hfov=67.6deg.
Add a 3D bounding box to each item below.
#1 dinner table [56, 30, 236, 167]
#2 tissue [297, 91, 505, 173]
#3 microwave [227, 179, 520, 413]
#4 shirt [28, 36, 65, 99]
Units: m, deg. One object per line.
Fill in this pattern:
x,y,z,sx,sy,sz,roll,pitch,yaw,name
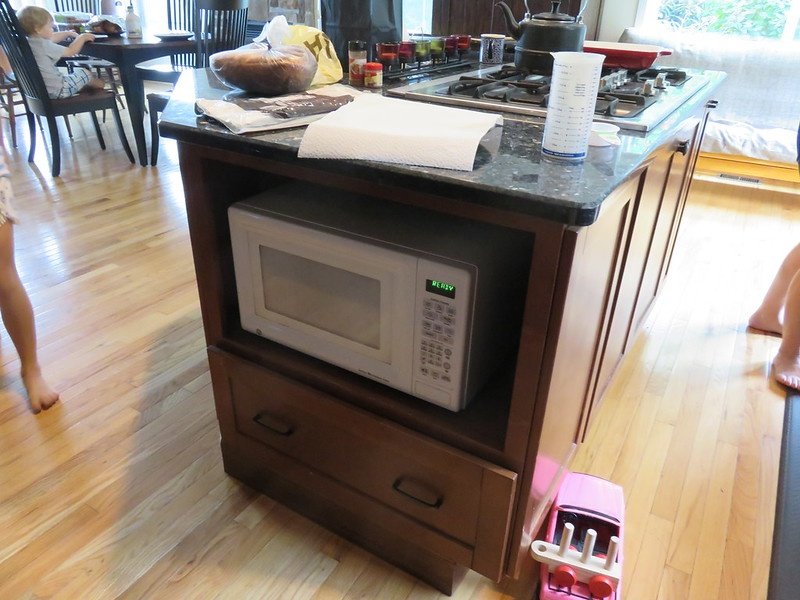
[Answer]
-1.780,-1.526,4.467,0.945,0.882,0.895,26,37,32,dinner table
0.012,-0.381,1.361,0.390,0.075,0.324,10,32,14,tissue
-0.030,-0.070,1.638,0.728,0.420,0.513,16,33,24,microwave
-2.266,-1.494,3.849,0.191,0.335,0.269,-3,32,-7,shirt
